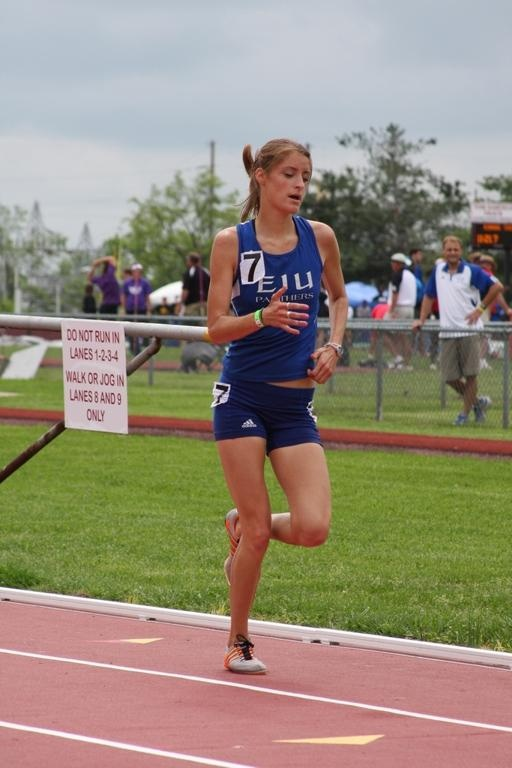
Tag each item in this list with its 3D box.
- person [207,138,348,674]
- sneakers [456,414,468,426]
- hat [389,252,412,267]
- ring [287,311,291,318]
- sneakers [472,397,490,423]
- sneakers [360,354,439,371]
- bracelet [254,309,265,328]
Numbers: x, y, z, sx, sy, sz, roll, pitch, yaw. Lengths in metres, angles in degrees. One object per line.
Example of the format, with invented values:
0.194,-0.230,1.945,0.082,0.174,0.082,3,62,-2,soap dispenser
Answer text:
0.058,0.081,3.991,0.432,1.698,0.585,1,5,1,person
1.270,0.213,7.743,0.039,0.053,0.119,-4,0,15,sneakers
1.564,-1.399,13.581,0.198,0.109,0.292,14,-10,13,hat
0.096,-0.209,3.697,0.008,0.016,0.034,1,5,8,ring
1.404,0.145,7.835,0.072,0.107,0.248,5,39,7,sneakers
0.981,-0.157,9.098,0.044,0.089,0.597,-11,8,-43,sneakers
0.009,-0.199,3.737,0.030,0.047,0.049,-5,31,3,bracelet
